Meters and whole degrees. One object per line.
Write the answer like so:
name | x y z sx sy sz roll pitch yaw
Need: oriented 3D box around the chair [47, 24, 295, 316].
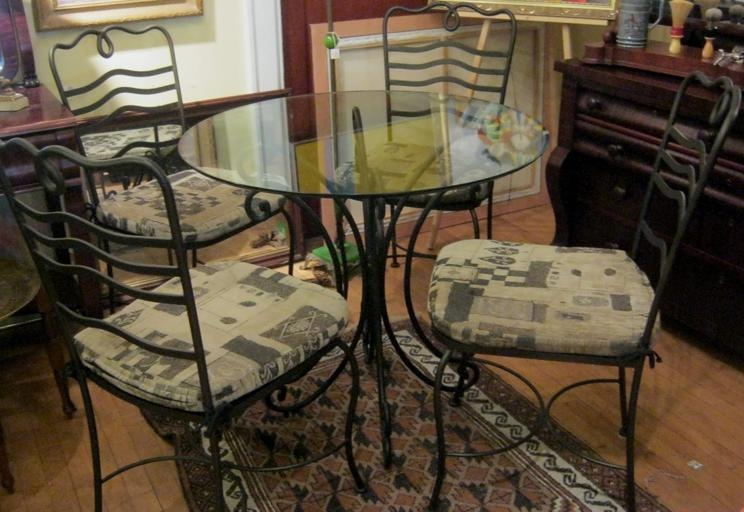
chair | -0.883 -0.340 2.694 0.868 1.121 0.834 -13 47 -40

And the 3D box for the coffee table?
coffee table | -0.021 -0.018 2.759 1.556 1.195 1.404 -2 36 0
